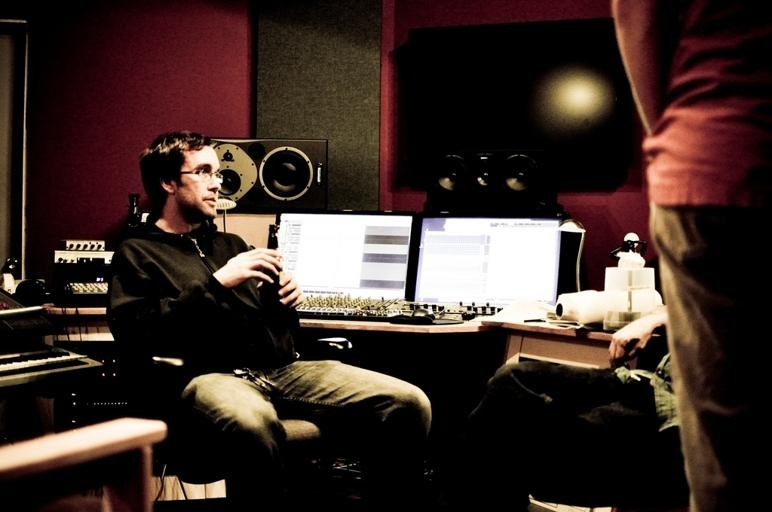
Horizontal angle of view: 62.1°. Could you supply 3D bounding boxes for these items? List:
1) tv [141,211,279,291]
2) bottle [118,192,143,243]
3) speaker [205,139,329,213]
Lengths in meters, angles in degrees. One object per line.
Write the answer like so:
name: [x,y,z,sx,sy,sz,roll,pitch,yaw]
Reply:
tv: [-0.765,-0.018,2.734,0.457,0.357,0.107,6,6,4]
bottle: [-1.381,-0.213,3.535,0.130,0.266,0.121,3,25,-2]
speaker: [-0.638,-0.461,3.706,0.778,0.420,0.407,3,6,19]
